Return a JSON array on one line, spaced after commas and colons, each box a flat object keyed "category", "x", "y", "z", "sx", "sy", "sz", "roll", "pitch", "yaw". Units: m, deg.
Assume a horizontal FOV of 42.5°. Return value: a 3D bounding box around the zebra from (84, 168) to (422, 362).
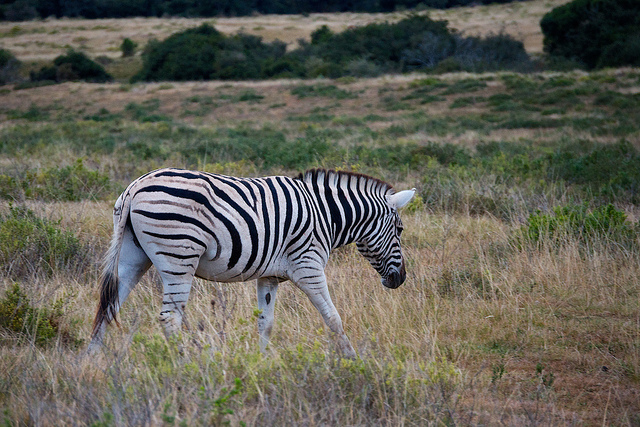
[{"category": "zebra", "x": -1.753, "y": 1.447, "z": 23.501, "sx": 9.691, "sy": 6.074, "sz": 2.508, "roll": 3, "pitch": 3, "yaw": -27}]
